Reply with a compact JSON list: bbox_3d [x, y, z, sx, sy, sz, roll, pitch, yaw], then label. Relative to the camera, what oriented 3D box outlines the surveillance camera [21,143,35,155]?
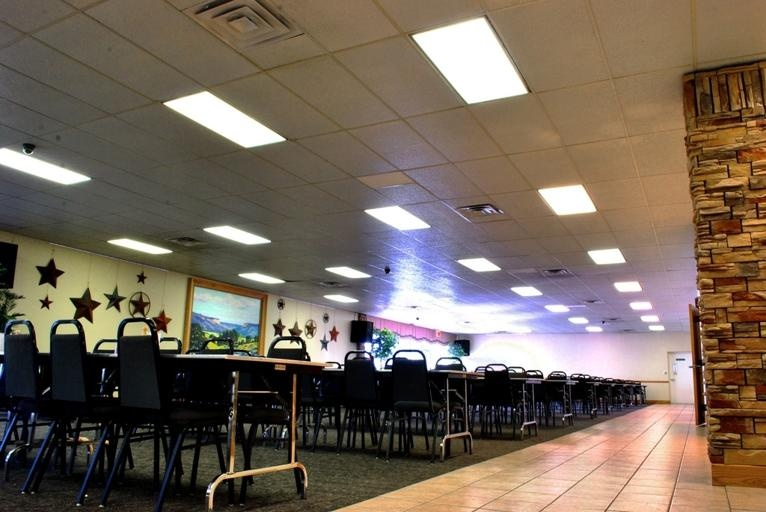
[{"bbox_3d":[-4.169,-1.267,6.131,0.142,0.086,0.131,5,-19,-31],"label":"surveillance camera"}]
